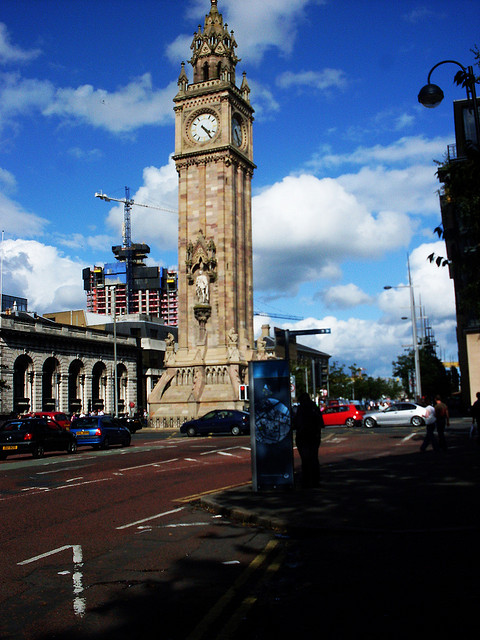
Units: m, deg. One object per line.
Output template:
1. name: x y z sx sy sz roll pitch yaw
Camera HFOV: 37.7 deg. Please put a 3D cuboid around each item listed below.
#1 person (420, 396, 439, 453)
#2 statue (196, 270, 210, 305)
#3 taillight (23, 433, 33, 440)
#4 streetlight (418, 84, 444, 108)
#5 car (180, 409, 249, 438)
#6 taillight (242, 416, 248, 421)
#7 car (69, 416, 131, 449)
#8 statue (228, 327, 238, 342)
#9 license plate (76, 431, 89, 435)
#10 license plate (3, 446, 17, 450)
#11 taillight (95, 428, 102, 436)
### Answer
1. person: 5.621 3.215 20.848 0.520 1.380 2.460 -5 -6 15
2. statue: -2.611 -2.293 49.731 0.832 2.400 0.589 -3 -6 -4
3. taillight: -7.263 3.998 24.170 0.258 0.236 0.146 4 -2 -24
4. streetlight: 3.755 -4.402 13.779 0.431 0.545 0.547 -5 -6 13
5. car: -1.148 5.247 36.081 3.495 1.068 1.460 0 -6 20
6. taillight: 0.281 4.893 34.982 0.251 0.226 0.231 -3 -5 0
7. car: -5.715 4.721 29.909 1.327 0.931 2.247 -2 -3 26
8. statue: -0.472 1.006 48.387 0.683 0.990 0.427 -9 -8 44
9. license plate: -6.512 4.665 29.116 0.713 0.129 0.045 -6 -6 31
10. license plate: -7.840 4.348 23.975 0.528 0.111 0.060 -5 -6 18
11. taillight: -5.798 4.591 28.795 0.256 0.280 0.114 -2 -6 -12
